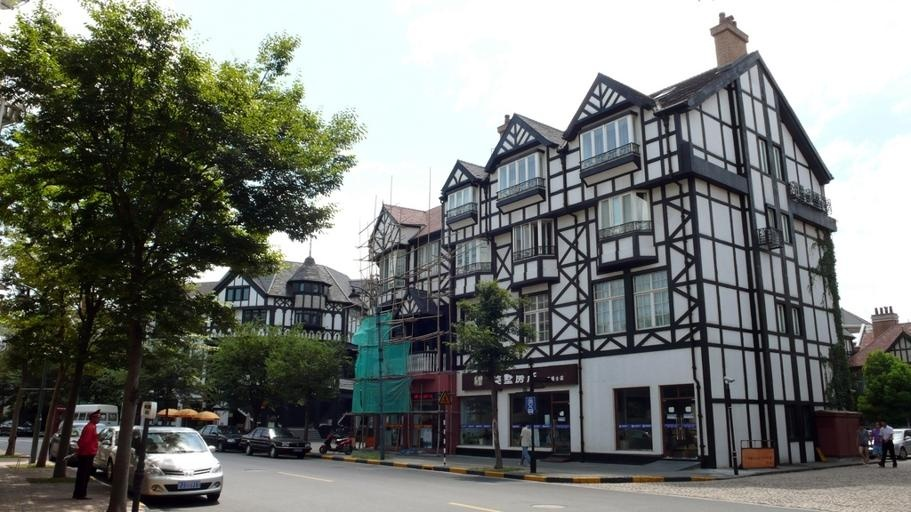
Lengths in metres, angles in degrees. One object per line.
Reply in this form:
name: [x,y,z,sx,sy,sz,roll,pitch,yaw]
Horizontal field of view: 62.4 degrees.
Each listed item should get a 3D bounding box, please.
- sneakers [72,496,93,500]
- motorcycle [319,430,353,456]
sneakers: [-14.986,9.580,29.918,0.604,0.228,0.190,1,-9,-8]
motorcycle: [-7.846,12.258,49.423,2.371,1.497,1.725,-10,-24,29]
